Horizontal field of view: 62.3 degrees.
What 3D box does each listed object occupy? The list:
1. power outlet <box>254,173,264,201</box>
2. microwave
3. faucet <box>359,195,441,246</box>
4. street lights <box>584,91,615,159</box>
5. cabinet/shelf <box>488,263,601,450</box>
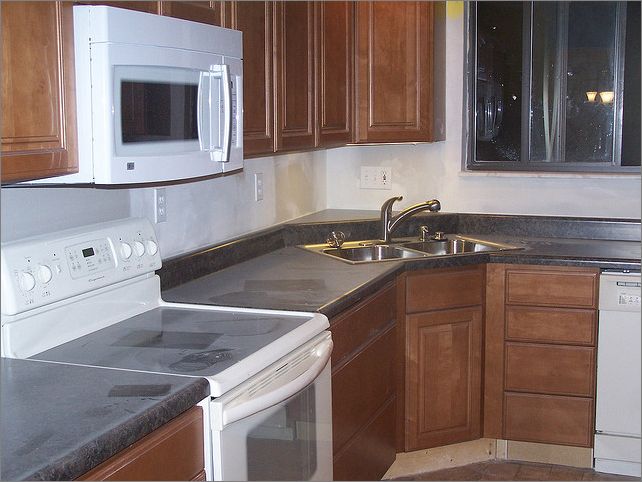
[{"bbox_3d":[-0.324,-0.283,2.768,0.011,0.157,0.138,1,7,21],"label":"power outlet"},{"bbox_3d":[-0.591,-0.403,1.687,0.487,0.487,0.765,4,10,20],"label":"microwave"},{"bbox_3d":[0.469,-0.113,2.927,0.224,0.264,0.282,-6,13,-27],"label":"faucet"},{"bbox_3d":[1.623,-0.670,3.105,0.158,0.400,0.048,3,12,13],"label":"street lights"},{"bbox_3d":[1.318,0.646,2.834,0.661,0.940,0.654,2,-12,19],"label":"cabinet/shelf"}]
